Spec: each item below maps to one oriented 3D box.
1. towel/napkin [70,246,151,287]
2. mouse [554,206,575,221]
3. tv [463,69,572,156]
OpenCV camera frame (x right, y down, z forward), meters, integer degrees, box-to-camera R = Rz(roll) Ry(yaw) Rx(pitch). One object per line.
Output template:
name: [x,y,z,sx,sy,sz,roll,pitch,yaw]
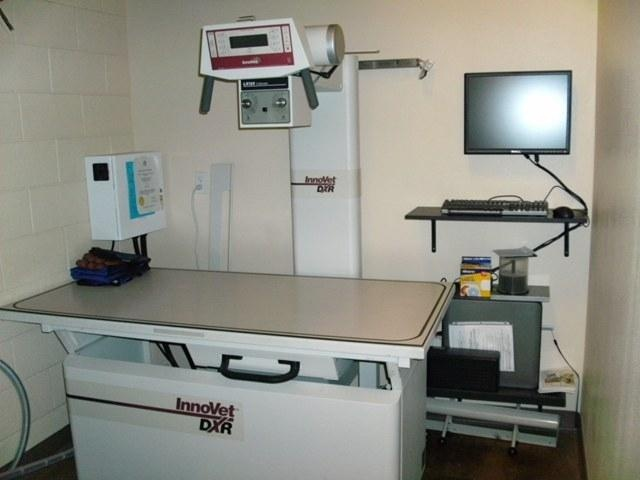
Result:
towel/napkin: [-1.360,0.176,3.424,0.415,0.180,0.320,3,9,12]
mouse: [1.419,-0.165,3.133,0.072,0.035,0.108,3,19,19]
tv: [1.197,-0.764,3.178,0.486,0.421,0.053,0,7,12]
